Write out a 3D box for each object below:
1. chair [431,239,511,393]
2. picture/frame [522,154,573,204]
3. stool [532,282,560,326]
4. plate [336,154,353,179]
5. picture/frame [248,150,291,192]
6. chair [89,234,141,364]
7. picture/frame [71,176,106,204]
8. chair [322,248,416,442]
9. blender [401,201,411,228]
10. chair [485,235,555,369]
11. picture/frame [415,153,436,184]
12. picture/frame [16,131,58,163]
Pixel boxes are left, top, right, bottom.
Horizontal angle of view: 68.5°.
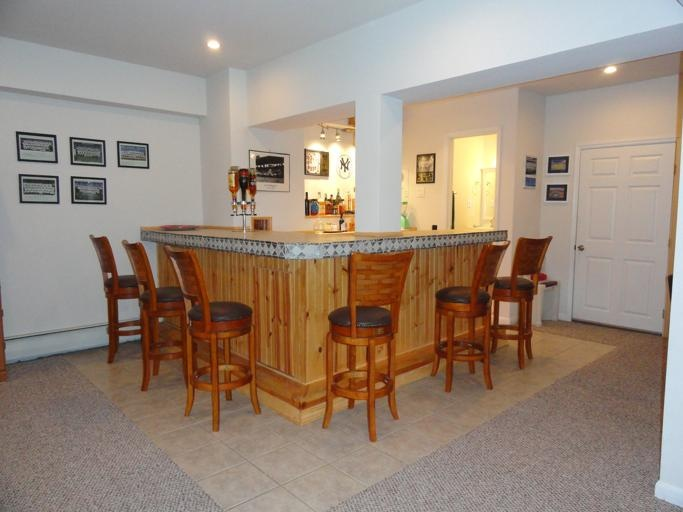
[{"bbox_3d":[1.187,0.523,4.721,0.614,1.339,0.577,3,4,25],"label":"chair"},{"bbox_3d":[2.706,-1.026,6.684,0.636,0.641,0.272,-6,10,-21],"label":"picture/frame"},{"bbox_3d":[2.844,0.692,6.948,0.362,0.564,0.401,-2,-12,0],"label":"stool"},{"bbox_3d":[0.029,-1.487,8.223,0.050,0.396,0.378,6,14,35],"label":"plate"},{"bbox_3d":[-0.905,-1.070,6.336,0.015,0.498,0.624,6,9,44],"label":"picture/frame"},{"bbox_3d":[-2.269,0.437,5.336,0.531,1.157,0.478,-6,4,-38],"label":"chair"},{"bbox_3d":[-2.884,-0.756,5.665,0.314,0.313,0.030,3,-6,-42],"label":"picture/frame"},{"bbox_3d":[0.201,0.667,3.976,0.688,1.434,0.697,0,4,10],"label":"chair"},{"bbox_3d":[0.977,-0.636,7.571,0.126,0.389,0.191,-2,9,3],"label":"blender"},{"bbox_3d":[1.803,0.433,5.187,0.585,1.271,0.547,0,4,33],"label":"chair"},{"bbox_3d":[1.231,-1.287,7.285,0.043,0.618,0.421,-1,4,-42],"label":"picture/frame"},{"bbox_3d":[-3.280,-1.174,5.352,0.349,0.359,0.025,2,-3,-43],"label":"picture/frame"}]
